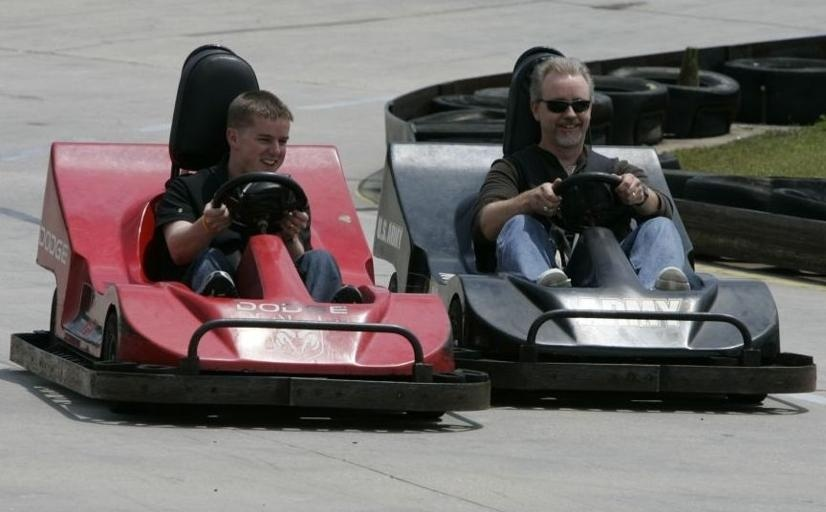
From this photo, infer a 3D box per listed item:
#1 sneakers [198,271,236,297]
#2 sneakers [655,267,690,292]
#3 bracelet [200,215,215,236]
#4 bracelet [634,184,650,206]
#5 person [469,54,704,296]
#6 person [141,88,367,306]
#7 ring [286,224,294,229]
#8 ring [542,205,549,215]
[{"bbox_3d":[-0.856,0.128,5.156,0.157,0.108,0.095,2,24,9],"label":"sneakers"},{"bbox_3d":[1.217,0.121,5.655,0.140,0.069,0.128,8,10,21],"label":"sneakers"},{"bbox_3d":[-0.916,-0.131,5.278,0.074,0.051,0.069,37,61,3],"label":"bracelet"},{"bbox_3d":[1.121,-0.297,5.922,0.077,0.060,0.078,27,53,2],"label":"bracelet"},{"bbox_3d":[0.806,-0.355,6.009,1.040,0.980,1.384,-3,18,-5],"label":"person"},{"bbox_3d":[-0.672,-0.228,5.545,0.888,0.997,1.205,-10,20,-37],"label":"person"},{"bbox_3d":[-0.572,-0.132,5.494,0.037,0.021,0.008,-7,26,-13],"label":"ring"},{"bbox_3d":[0.635,-0.217,5.803,0.011,0.030,0.033,-5,37,-48],"label":"ring"}]
